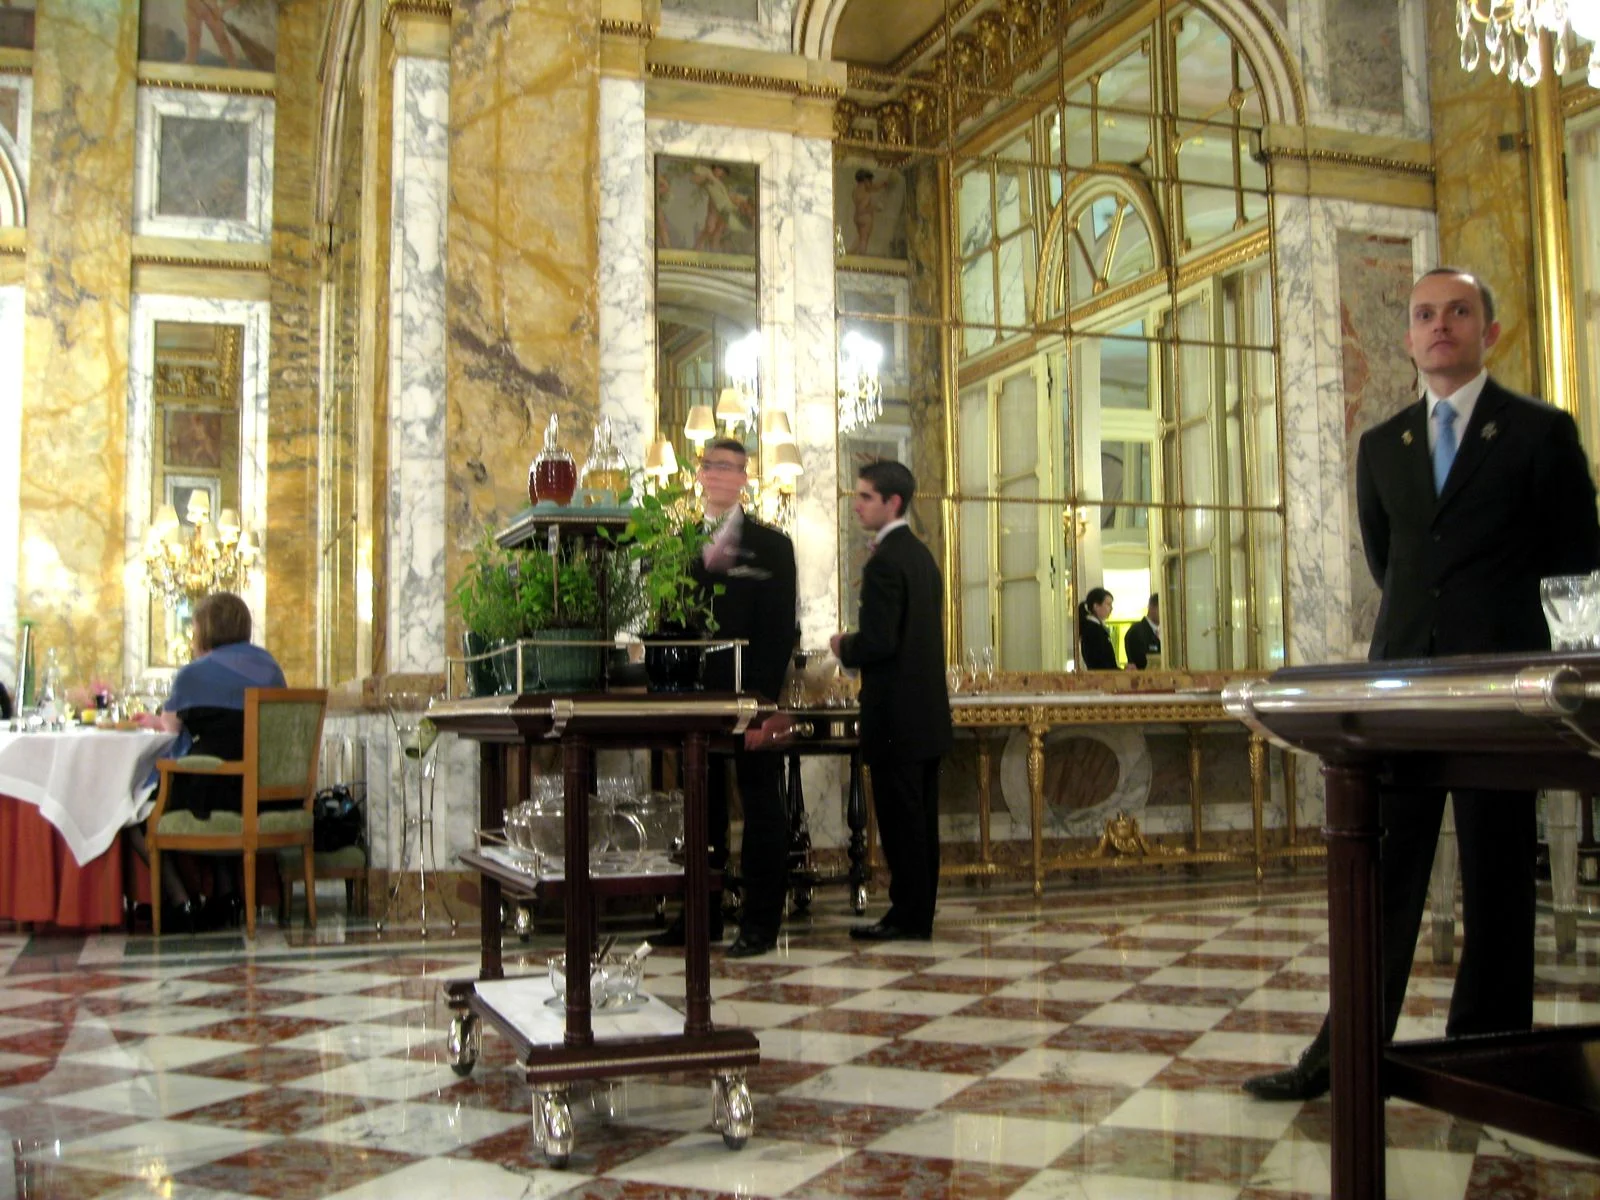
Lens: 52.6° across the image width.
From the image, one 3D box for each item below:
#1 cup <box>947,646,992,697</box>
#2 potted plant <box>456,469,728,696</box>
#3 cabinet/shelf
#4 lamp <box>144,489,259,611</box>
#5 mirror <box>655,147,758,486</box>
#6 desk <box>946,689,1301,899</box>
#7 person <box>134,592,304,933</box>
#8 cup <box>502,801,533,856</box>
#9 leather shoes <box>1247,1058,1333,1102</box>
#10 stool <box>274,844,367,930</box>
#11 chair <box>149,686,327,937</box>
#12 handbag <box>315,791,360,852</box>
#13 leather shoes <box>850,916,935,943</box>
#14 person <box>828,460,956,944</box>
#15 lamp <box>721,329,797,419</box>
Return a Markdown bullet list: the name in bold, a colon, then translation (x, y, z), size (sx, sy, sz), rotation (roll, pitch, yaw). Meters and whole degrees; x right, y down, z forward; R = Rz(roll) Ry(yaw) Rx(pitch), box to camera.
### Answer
- **cup**: translation (0.910, 0.374, 8.421), size (0.208, 0.276, 0.226), rotation (1, -4, 0)
- **potted plant**: translation (-0.591, -0.020, 4.544), size (0.521, 0.580, 0.751), rotation (-1, -1, -12)
- **cabinet/shelf**: translation (-0.626, 0.892, 4.708), size (0.593, 1.179, 1.210), rotation (0, -3, -23)
- **lamp**: translation (-4.227, -0.366, 11.497), size (0.721, 0.888, 0.806), rotation (-12, -10, 41)
- **mirror**: translation (-0.434, -1.596, 8.352), size (0.599, 1.861, 0.036), rotation (3, 37, -1)
- **desk**: translation (1.739, 1.015, 8.387), size (1.514, 0.990, 0.634), rotation (-2, -10, -2)
- **person**: translation (-2.742, 0.681, 7.505), size (0.395, 1.506, 0.484), rotation (22, 15, 34)
- **cup**: translation (-0.794, 0.630, 4.424), size (0.121, 0.145, 0.124), rotation (2, -9, 0)
- **leather shoes**: translation (1.283, 1.308, 4.386), size (0.298, 0.139, 0.110), rotation (-2, -12, 10)
- **stool**: translation (-2.255, 1.314, 7.684), size (0.299, 0.252, 0.216), rotation (13, -12, 24)
- **chair**: translation (-2.547, 0.932, 7.356), size (0.677, 1.074, 0.710), rotation (-5, -6, 37)
- **handbag**: translation (-2.206, 1.063, 7.759), size (0.183, 0.254, 0.195), rotation (-4, -4, -13)
- **leather shoes**: translation (0.389, 1.372, 6.733), size (0.319, 0.146, 0.128), rotation (7, -16, -3)
- **person**: translation (0.405, 0.405, 6.716), size (0.469, 1.522, 0.369), rotation (-1, 0, 14)
- **lamp**: translation (-0.200, -1.180, 8.392), size (0.372, 0.815, 0.406), rotation (1, -5, -2)
